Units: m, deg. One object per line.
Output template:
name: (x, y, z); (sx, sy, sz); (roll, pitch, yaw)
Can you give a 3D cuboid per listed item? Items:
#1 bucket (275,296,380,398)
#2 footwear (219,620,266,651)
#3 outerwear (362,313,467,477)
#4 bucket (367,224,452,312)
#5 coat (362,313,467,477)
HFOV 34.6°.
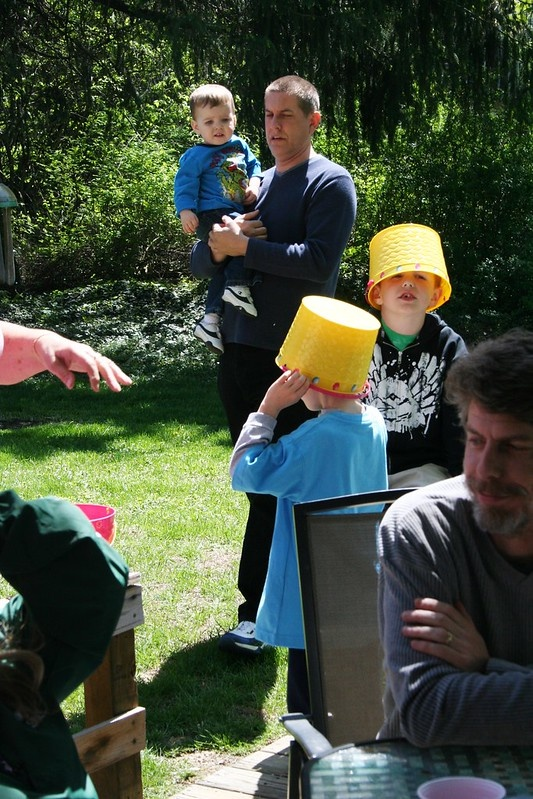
bucket: (0.198, -0.159, 2.546); (0.283, 0.284, 0.241); (-1, 11, -16)
footwear: (-0.087, 0.952, 3.491); (0.124, 0.088, 0.235); (0, -10, 17)
outerwear: (0.523, -0.018, 3.056); (0.391, 0.483, 0.173); (0, -2, 9)
bucket: (0.540, -0.455, 3.227); (0.343, 0.231, 0.342); (2, -37, 1)
coat: (0.490, -0.004, 2.865); (0.391, 0.483, 0.173); (0, -2, 9)
